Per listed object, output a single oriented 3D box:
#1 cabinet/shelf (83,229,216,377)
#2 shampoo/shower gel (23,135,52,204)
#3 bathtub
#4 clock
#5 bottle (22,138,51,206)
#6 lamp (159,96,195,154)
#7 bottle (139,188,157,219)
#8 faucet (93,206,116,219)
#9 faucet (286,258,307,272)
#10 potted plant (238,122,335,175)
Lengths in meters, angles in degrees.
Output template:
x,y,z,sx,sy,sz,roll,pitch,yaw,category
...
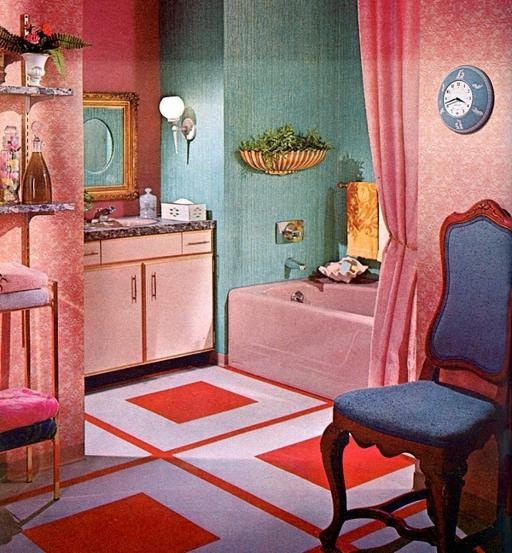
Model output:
x,y,z,sx,sy,sz,roll,pitch,yaw,category
-0.790,0.161,3.653,1.120,0.847,0.420,-7,15,-38,cabinet/shelf
-0.956,-0.471,2.252,0.126,0.277,0.122,-8,20,-37,shampoo/shower gel
0.002,0.511,3.992,1.504,0.568,1.080,18,-13,-33,bathtub
0.808,-0.684,1.989,0.064,0.253,0.227,-3,8,-26,clock
-0.958,-0.466,2.227,0.117,0.295,0.083,-2,8,-23,bottle
-0.610,-1.176,4.018,0.322,0.439,0.099,7,16,25,lamp
-0.872,-0.598,4.151,0.148,0.258,0.371,-1,7,-11,bottle
-1.117,-0.452,3.769,0.134,0.050,0.120,-7,1,5,faucet
0.315,-0.105,4.305,0.071,0.057,0.240,5,-4,-35,faucet
0.230,-1.004,4.028,0.769,0.405,0.222,-5,9,-38,potted plant
